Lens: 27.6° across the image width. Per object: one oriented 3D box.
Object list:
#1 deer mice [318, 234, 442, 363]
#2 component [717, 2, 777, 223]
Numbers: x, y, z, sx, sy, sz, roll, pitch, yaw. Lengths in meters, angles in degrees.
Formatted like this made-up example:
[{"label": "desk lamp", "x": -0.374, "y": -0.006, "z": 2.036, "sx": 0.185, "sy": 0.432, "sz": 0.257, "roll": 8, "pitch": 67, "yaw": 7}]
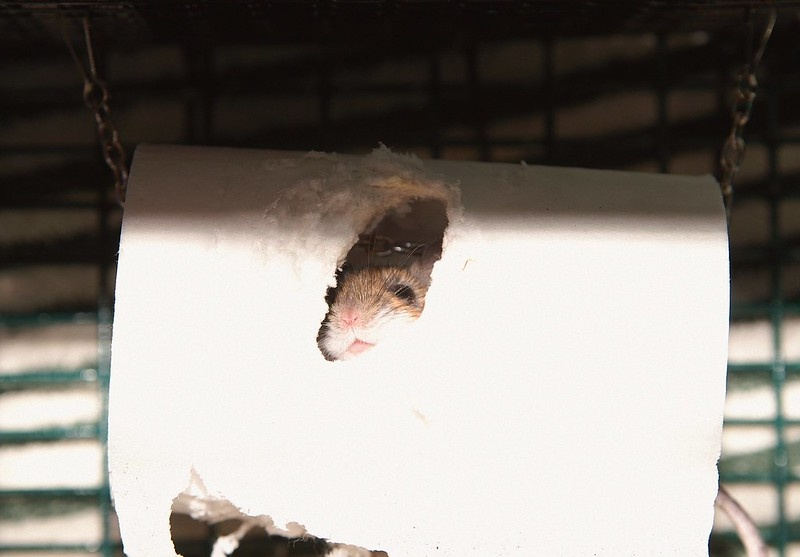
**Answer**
[{"label": "deer mice", "x": -0.048, "y": 0.022, "z": 2.770, "sx": 0.238, "sy": 0.354, "sz": 0.120, "roll": -5, "pitch": -72, "yaw": 17}, {"label": "component", "x": 0.582, "y": -0.270, "z": 2.778, "sx": 0.051, "sy": 0.066, "sz": 0.383, "roll": 2, "pitch": -72, "yaw": -17}]
